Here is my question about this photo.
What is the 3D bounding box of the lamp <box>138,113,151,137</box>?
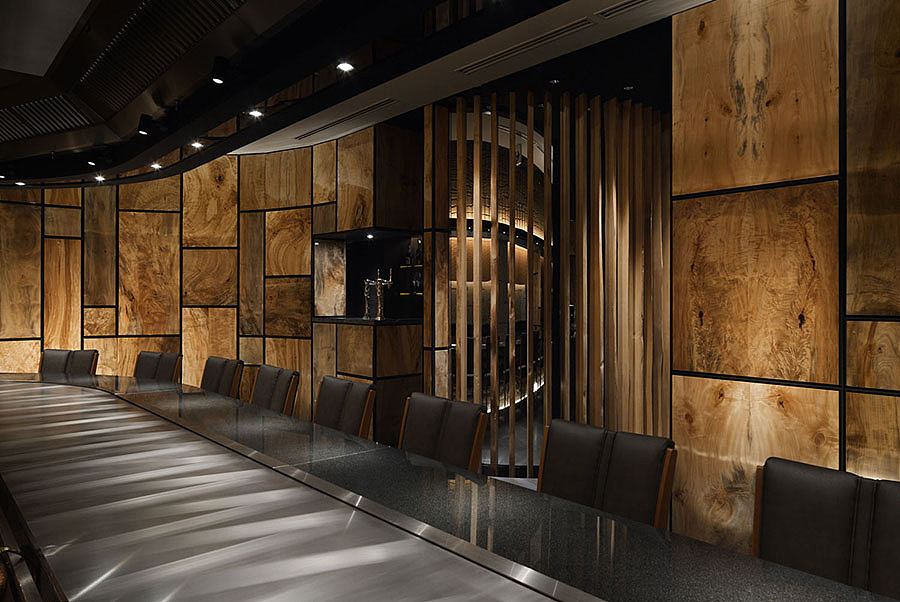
[{"bbox_3d":[-1.626,-0.946,3.341,0.032,0.109,0.173,-9,14,-41],"label":"lamp"}]

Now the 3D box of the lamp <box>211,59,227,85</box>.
[{"bbox_3d":[-1.076,-1.082,2.927,0.075,0.117,0.039,2,11,10],"label":"lamp"}]
